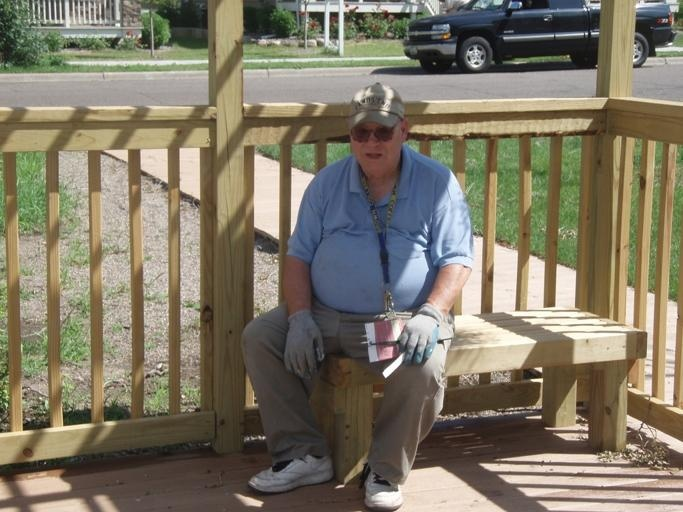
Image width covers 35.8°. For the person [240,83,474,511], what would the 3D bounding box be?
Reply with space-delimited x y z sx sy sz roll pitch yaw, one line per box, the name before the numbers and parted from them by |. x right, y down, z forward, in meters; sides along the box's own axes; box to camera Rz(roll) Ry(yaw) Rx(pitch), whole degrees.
person | 0.090 0.175 5.422 1.122 2.051 0.682 1 11 11

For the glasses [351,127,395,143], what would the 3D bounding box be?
glasses | 0.160 -0.617 5.389 0.217 0.076 0.042 -1 11 0

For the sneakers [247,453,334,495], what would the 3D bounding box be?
sneakers | -0.254 1.109 5.509 0.446 0.232 0.167 -7 17 -18

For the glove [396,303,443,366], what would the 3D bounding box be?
glove | 0.398 0.385 5.238 0.123 0.271 0.248 7 14 38

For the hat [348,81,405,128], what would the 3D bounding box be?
hat | 0.177 -0.775 5.442 0.279 0.214 0.211 -1 11 0
